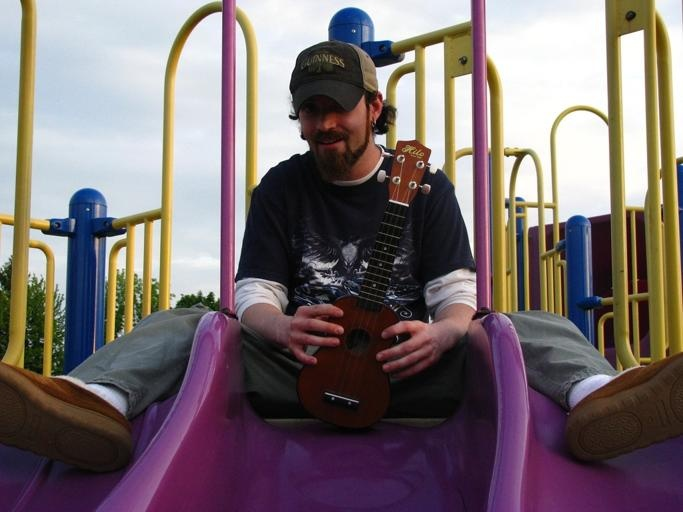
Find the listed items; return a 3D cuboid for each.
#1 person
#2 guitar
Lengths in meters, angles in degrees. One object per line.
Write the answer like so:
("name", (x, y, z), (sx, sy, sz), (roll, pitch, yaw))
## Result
("person", (0.028, 0.126, 2.297), (1.468, 1.245, 1.117), (0, -6, 8))
("guitar", (0.075, 0.104, 2.018), (0.259, 0.840, 0.096), (12, 24, -11))
